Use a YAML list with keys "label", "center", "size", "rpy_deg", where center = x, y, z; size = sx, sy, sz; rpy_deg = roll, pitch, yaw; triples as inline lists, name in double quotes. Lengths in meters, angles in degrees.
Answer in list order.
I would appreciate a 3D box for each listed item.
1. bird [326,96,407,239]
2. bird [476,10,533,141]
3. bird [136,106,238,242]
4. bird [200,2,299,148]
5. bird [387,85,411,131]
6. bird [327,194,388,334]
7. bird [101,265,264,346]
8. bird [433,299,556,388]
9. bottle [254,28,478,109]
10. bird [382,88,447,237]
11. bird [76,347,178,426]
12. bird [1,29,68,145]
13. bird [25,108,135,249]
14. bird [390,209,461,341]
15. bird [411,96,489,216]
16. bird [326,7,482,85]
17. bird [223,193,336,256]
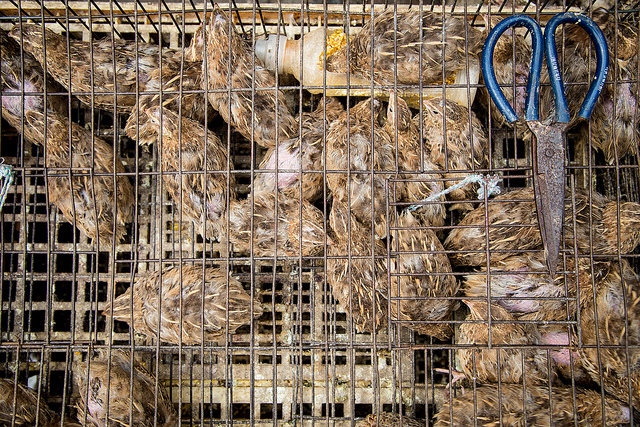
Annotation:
- label: "bird"
  center: [0.132, -0.160, 5.058]
  size: [0.229, 0.403, 0.174]
  rpy_deg: [1, -4, 1]
- label: "bird"
  center: [0.620, -0.447, 5.163]
  size: [0.226, 0.399, 0.174]
  rpy_deg: [-12, 1, 8]
- label: "bird"
  center: [-0.413, -0.147, 5.243]
  size: [0.257, 0.492, 0.321]
  rpy_deg: [-39, 1, -1]
- label: "bird"
  center: [-0.238, -0.407, 5.263]
  size: [0.243, 0.484, 0.321]
  rpy_deg: [-27, -4, 3]
- label: "bird"
  center: [0.255, -0.340, 5.106]
  size: [0.077, 0.132, 0.049]
  rpy_deg: [-17, 21, -13]
- label: "bird"
  center: [0.141, 0.156, 5.232]
  size: [0.228, 0.403, 0.170]
  rpy_deg: [-6, -2, 6]
- label: "bird"
  center: [-0.369, 0.277, 5.205]
  size: [0.392, 0.123, 0.199]
  rpy_deg: [-1, 31, -26]
- label: "bird"
  center: [0.616, 0.344, 5.201]
  size: [0.354, 0.216, 0.243]
  rpy_deg: [-14, 23, -28]
- label: "bottle"
  center: [0.178, -0.448, 5.181]
  size: [0.955, 0.241, 0.266]
  rpy_deg: [2, 44, -2]
- label: "bird"
  center: [0.290, -0.167, 5.247]
  size: [0.176, 0.467, 0.200]
  rpy_deg: [-10, 2, -3]
- label: "bird"
  center: [-0.637, 0.553, 5.160]
  size: [0.330, 0.264, 0.295]
  rpy_deg: [-1, -2, -6]
- label: "bird"
  center: [-0.968, -0.437, 5.313]
  size: [0.147, 0.412, 0.172]
  rpy_deg: [-11, 6, 7]
- label: "bird"
  center: [-0.784, -0.138, 5.322]
  size: [0.261, 0.541, 0.353]
  rpy_deg: [-21, -4, 7]
- label: "bird"
  center: [0.340, 0.191, 5.140]
  size: [0.224, 0.418, 0.232]
  rpy_deg: [-2, -2, 4]
- label: "bird"
  center: [0.443, -0.205, 5.262]
  size: [0.232, 0.391, 0.169]
  rpy_deg: [-14, -4, 6]
- label: "bird"
  center: [0.269, -0.534, 5.135]
  size: [0.477, 0.228, 0.181]
  rpy_deg: [-6, -5, 1]
- label: "bird"
  center: [-0.128, 0.033, 5.171]
  size: [0.350, 0.180, 0.133]
  rpy_deg: [4, -10, 8]
